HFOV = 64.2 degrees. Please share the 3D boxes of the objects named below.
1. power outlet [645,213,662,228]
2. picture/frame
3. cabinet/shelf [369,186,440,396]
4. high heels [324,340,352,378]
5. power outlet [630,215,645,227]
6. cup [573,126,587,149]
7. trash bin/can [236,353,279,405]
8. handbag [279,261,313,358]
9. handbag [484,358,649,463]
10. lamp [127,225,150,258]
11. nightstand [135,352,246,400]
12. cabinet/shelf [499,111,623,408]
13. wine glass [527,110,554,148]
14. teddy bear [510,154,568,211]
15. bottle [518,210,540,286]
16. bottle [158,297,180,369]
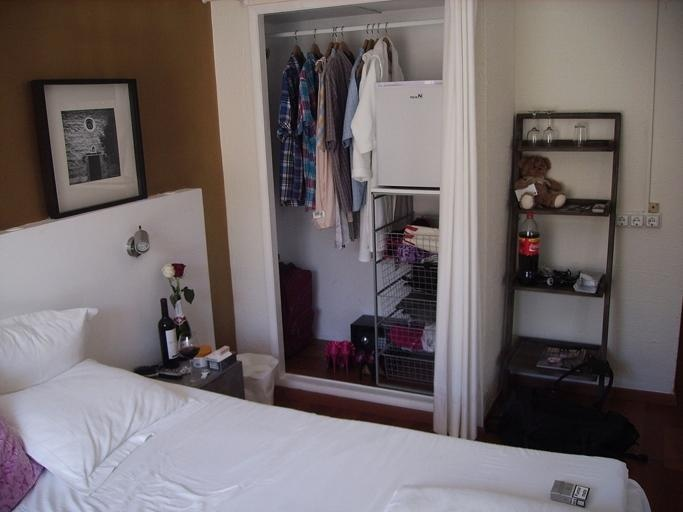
[{"bbox_3d":[2.032,-0.237,3.538,0.068,0.078,0.038,4,15,20],"label":"power outlet"},{"bbox_3d":[-1.359,-0.574,2.889,0.063,0.669,0.666,5,14,28],"label":"picture/frame"},{"bbox_3d":[0.478,0.215,4.054,0.775,1.355,0.785,2,-1,16],"label":"cabinet/shelf"},{"bbox_3d":[-0.018,0.765,4.143,0.134,0.110,0.266,1,27,2],"label":"high heels"},{"bbox_3d":[1.936,-0.236,3.559,0.057,0.060,0.033,3,13,21],"label":"power outlet"},{"bbox_3d":[1.558,-0.788,3.547,0.082,0.136,0.241,4,15,23],"label":"cup"},{"bbox_3d":[-0.574,0.814,3.888,0.322,0.327,0.350,-1,7,-2],"label":"trash bin/can"},{"bbox_3d":[-0.410,0.434,4.451,0.222,0.698,0.426,4,13,23],"label":"handbag"},{"bbox_3d":[1.276,0.958,3.233,0.617,0.295,0.628,5,10,38],"label":"handbag"},{"bbox_3d":[-1.180,-0.088,3.146,0.077,0.162,0.115,3,13,19],"label":"lamp"},{"bbox_3d":[-0.870,0.703,3.225,0.336,0.290,0.357,4,10,24],"label":"nightstand"},{"bbox_3d":[1.423,0.589,3.713,0.691,1.968,0.531,6,19,28],"label":"cabinet/shelf"},{"bbox_3d":[1.344,-0.866,3.675,0.186,0.212,0.170,4,14,21],"label":"wine glass"},{"bbox_3d":[1.308,-0.470,3.690,0.340,0.475,0.353,-2,3,-18],"label":"teddy bear"},{"bbox_3d":[1.289,-0.088,3.736,0.147,0.486,0.321,3,13,19],"label":"bottle"},{"bbox_3d":[-1.013,0.436,3.186,0.101,0.416,0.121,-6,13,-20],"label":"bottle"}]
